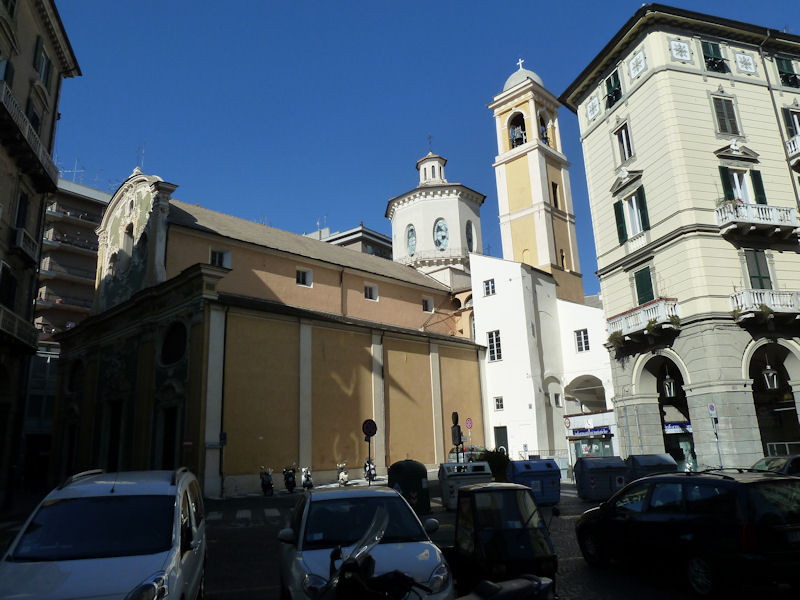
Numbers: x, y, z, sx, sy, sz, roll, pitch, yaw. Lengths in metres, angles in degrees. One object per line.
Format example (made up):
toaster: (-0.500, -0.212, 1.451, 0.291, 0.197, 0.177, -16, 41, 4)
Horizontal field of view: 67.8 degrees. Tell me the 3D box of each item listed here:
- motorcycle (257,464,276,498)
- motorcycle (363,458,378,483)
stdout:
motorcycle: (-5.851, 7.845, 25.828, 0.852, 1.650, 0.857, 5, -22, -30)
motorcycle: (-1.365, 8.049, 27.919, 0.680, 0.971, 1.636, -1, -13, -8)
